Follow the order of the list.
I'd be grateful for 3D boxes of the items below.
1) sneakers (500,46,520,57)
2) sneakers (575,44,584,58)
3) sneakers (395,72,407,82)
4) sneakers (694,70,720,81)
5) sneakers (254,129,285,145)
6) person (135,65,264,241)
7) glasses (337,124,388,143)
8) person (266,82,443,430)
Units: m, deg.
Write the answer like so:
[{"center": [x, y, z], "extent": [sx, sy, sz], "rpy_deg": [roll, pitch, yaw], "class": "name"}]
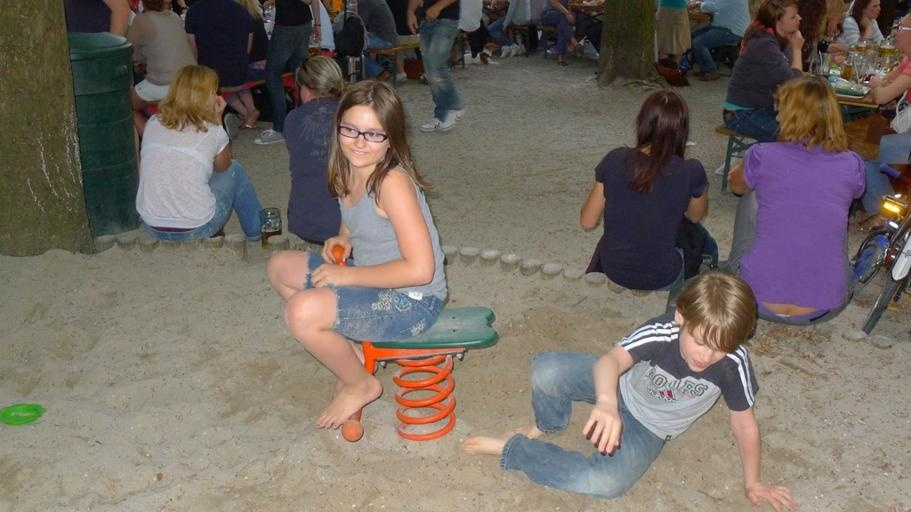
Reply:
[{"center": [1.166, -4.302, 14.968], "extent": [0.239, 0.179, 0.550], "rpy_deg": [3, 4, 1], "class": "sneakers"}, {"center": [2.580, -4.267, 14.756], "extent": [0.173, 0.197, 0.266], "rpy_deg": [-21, 42, -10], "class": "sneakers"}, {"center": [-0.989, -3.205, 12.748], "extent": [0.282, 0.178, 0.147], "rpy_deg": [6, 22, -1], "class": "sneakers"}, {"center": [4.573, -3.271, 12.939], "extent": [0.490, 0.203, 0.165], "rpy_deg": [0, 39, 10], "class": "sneakers"}, {"center": [-2.550, -1.590, 9.514], "extent": [0.456, 0.175, 0.181], "rpy_deg": [0, 30, -5], "class": "sneakers"}, {"center": [-2.539, -0.925, 6.800], "extent": [1.124, 1.637, 0.538], "rpy_deg": [-11, 28, -24], "class": "person"}, {"center": [-0.674, -0.884, 5.147], "extent": [0.357, 0.109, 0.070], "rpy_deg": [5, 26, 6], "class": "glasses"}, {"center": [-0.686, 0.021, 5.337], "extent": [1.175, 2.468, 0.849], "rpy_deg": [-7, 27, -16], "class": "person"}]
